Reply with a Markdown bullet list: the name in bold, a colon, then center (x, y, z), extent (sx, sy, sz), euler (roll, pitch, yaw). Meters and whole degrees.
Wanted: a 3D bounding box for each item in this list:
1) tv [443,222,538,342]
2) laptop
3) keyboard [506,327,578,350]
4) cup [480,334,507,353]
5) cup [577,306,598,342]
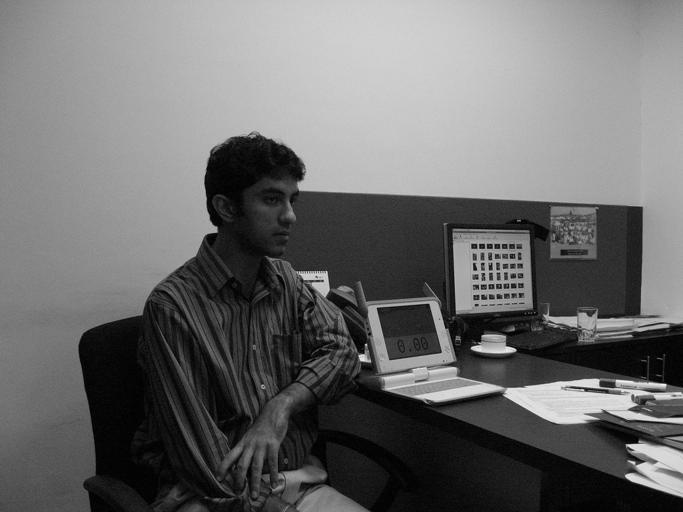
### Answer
- **tv**: center (0.679, 0.127, 2.582), extent (0.522, 0.539, 0.177), euler (1, -8, -24)
- **laptop**: center (0.304, 0.295, 1.828), extent (0.364, 0.266, 0.377), euler (-3, 3, -35)
- **keyboard**: center (0.885, 0.366, 2.442), extent (0.395, 0.050, 0.214), euler (-2, 1, -38)
- **cup**: center (0.616, 0.346, 2.226), extent (0.068, 0.053, 0.069), euler (-1, 1, 0)
- **cup**: center (1.112, 0.301, 2.508), extent (0.083, 0.142, 0.239), euler (-1, 1, 24)
